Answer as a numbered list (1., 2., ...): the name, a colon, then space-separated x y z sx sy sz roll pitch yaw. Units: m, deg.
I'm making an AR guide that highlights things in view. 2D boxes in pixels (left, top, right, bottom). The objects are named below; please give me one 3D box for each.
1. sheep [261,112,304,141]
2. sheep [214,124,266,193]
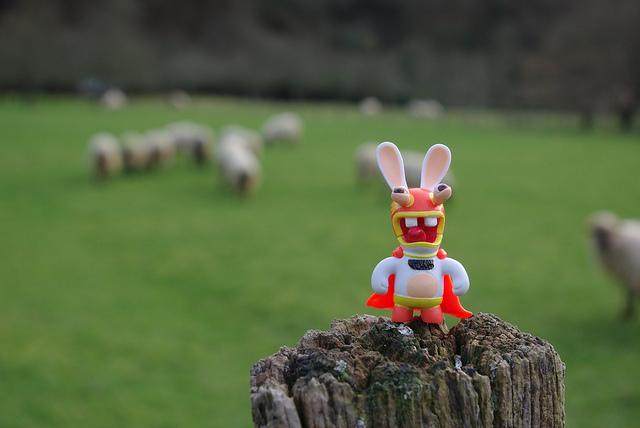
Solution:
1. sheep: -0.259 -0.665 9.068 0.218 0.231 0.625 6 12 23
2. sheep: -0.613 -0.429 9.115 0.389 0.455 0.475 0 11 -5
